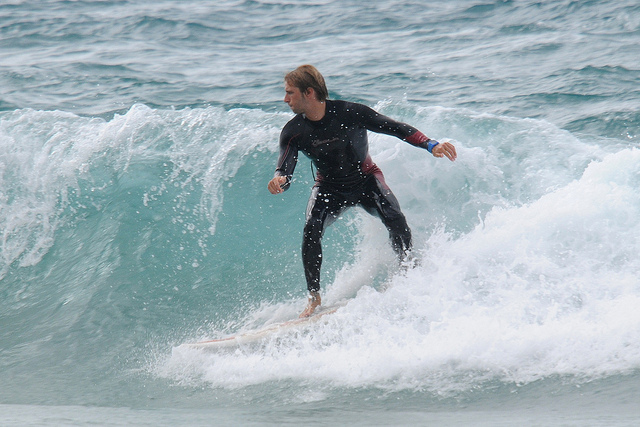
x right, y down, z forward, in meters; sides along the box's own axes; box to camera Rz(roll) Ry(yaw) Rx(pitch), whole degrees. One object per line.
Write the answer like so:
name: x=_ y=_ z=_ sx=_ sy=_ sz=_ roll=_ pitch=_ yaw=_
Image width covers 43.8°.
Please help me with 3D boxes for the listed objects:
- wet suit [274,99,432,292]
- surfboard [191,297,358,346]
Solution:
wet suit: x=0.419 y=-0.427 z=9.959 sx=1.885 sy=1.919 sz=1.229 roll=-2 pitch=36 yaw=6
surfboard: x=-0.534 y=1.387 z=10.055 sx=2.306 sy=0.111 sz=0.245 roll=-11 pitch=8 yaw=12
